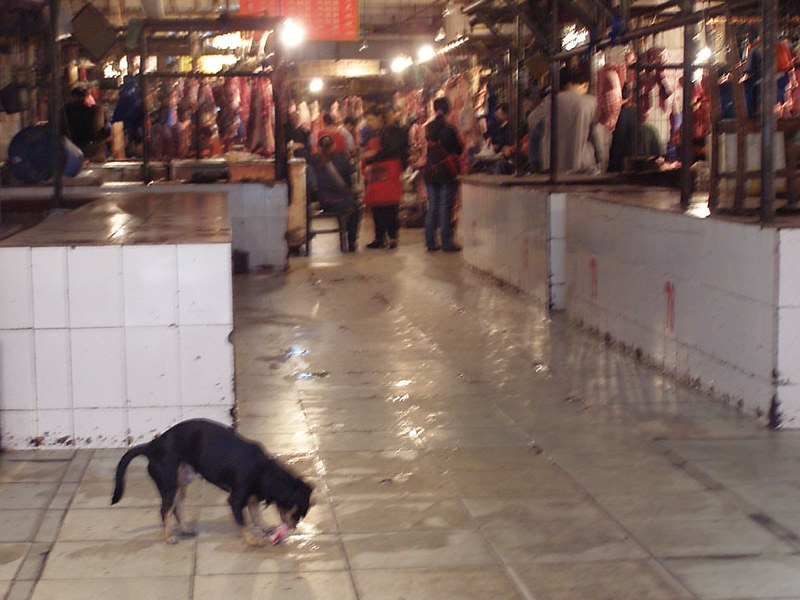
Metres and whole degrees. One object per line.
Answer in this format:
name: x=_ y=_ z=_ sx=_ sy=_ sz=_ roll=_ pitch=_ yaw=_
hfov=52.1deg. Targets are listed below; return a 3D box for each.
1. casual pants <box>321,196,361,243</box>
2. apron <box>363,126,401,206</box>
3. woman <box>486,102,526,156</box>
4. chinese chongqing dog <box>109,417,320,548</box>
casual pants: x=-0.818 y=-0.953 z=11.644 sx=0.500 sy=0.668 sz=0.945 roll=-1 pitch=12 yaw=5
apron: x=-0.242 y=-1.847 z=11.794 sx=0.467 sy=1.224 sz=0.508 roll=0 pitch=3 yaw=-12
woman: x=1.457 y=-2.544 z=12.445 sx=0.271 sy=0.848 sz=0.604 roll=-14 pitch=6 yaw=-34
chinese chongqing dog: x=-0.803 y=0.778 z=3.461 sx=0.847 sy=0.518 sz=0.228 roll=3 pitch=12 yaw=18
